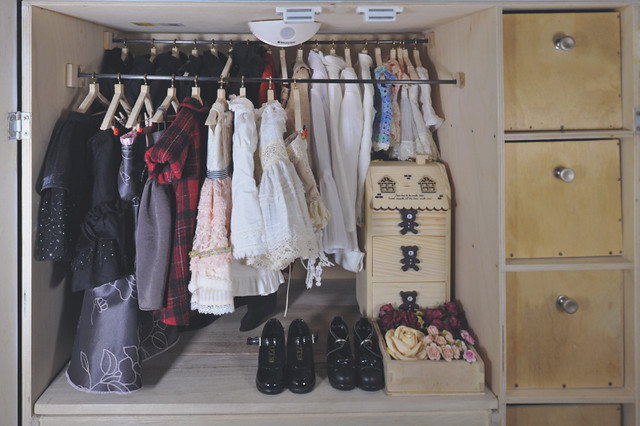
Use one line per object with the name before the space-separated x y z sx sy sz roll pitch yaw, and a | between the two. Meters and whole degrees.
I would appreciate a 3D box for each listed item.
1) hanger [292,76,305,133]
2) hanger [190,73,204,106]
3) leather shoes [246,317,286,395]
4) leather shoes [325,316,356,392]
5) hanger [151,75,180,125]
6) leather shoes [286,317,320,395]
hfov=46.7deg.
hanger | -0.107 -0.522 3.646 0.059 0.268 0.197 0 0 -3
hanger | -0.611 -0.597 3.656 0.055 0.156 0.283 0 0 -9
leather shoes | -0.244 0.695 3.617 0.142 0.127 0.319 0 15 -4
leather shoes | 0.096 0.675 3.633 0.135 0.300 0.304 0 0 -3
hanger | -0.759 -0.552 3.605 0.024 0.149 0.242 16 25 4
leather shoes | -0.095 0.685 3.625 0.141 0.302 0.313 0 0 -3
